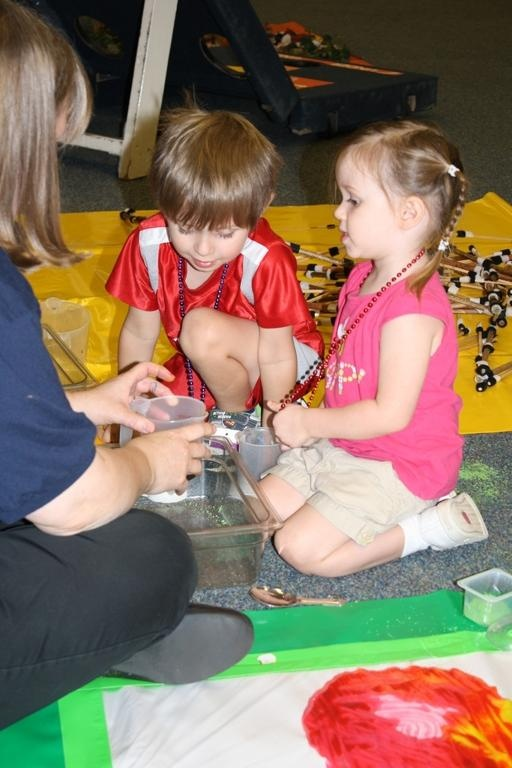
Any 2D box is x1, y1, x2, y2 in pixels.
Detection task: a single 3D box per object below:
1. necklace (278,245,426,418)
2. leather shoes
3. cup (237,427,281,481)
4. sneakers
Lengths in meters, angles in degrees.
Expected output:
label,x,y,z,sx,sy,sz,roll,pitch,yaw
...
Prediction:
label,x,y,z,sx,sy,sz,roll,pitch,yaw
necklace,0.177,-0.087,1.177,0.057,0.061,0.578,-10,41,51
leather shoes,-0.135,0.335,0.838,0.203,0.068,0.077,12,66,16
cup,0.007,0.131,1.183,0.077,0.087,0.064,-17,45,-20
sneakers,0.339,0.230,1.134,0.123,0.086,0.116,-14,-2,-21
